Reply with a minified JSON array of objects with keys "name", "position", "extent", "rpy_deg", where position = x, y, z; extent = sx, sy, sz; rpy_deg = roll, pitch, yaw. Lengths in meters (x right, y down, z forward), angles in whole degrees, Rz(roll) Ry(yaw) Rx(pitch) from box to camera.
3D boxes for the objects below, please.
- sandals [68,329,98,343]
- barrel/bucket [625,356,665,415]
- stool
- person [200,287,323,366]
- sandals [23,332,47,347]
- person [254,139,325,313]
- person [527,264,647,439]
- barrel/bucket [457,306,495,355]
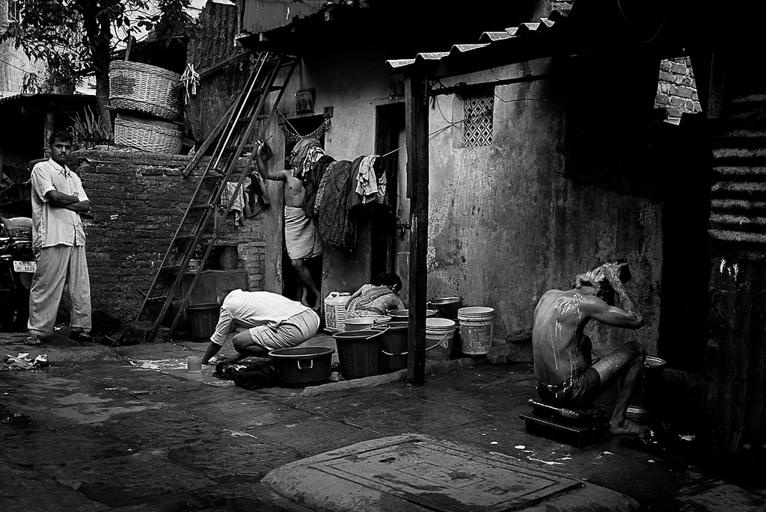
[{"name":"sandals","position":[-4.538,1.203,12.244],"extent":[0.415,0.179,0.160],"rpy_deg":[1,3,6]},{"name":"barrel/bucket","position":[2.788,1.381,8.686],"extent":[0.528,0.511,0.495],"rpy_deg":[8,16,-2]},{"name":"stool","position":[1.988,1.749,8.601],"extent":[0.848,0.359,0.892],"rpy_deg":[10,-2,-41]},{"name":"person","position":[-1.712,0.955,10.762],"extent":[1.582,0.899,1.114],"rpy_deg":[-3,4,22]},{"name":"sandals","position":[-5.079,1.216,11.780],"extent":[0.157,0.169,0.414],"rpy_deg":[3,-7,-30]},{"name":"person","position":[-1.541,-0.516,13.808],"extent":[0.807,2.813,1.311],"rpy_deg":[-9,15,-34]},{"name":"person","position":[2.146,0.946,8.438],"extent":[1.155,1.727,0.537],"rpy_deg":[2,13,10]},{"name":"barrel/bucket","position":[1.223,1.005,11.170],"extent":[0.633,0.597,0.557],"rpy_deg":[-1,5,25]}]
